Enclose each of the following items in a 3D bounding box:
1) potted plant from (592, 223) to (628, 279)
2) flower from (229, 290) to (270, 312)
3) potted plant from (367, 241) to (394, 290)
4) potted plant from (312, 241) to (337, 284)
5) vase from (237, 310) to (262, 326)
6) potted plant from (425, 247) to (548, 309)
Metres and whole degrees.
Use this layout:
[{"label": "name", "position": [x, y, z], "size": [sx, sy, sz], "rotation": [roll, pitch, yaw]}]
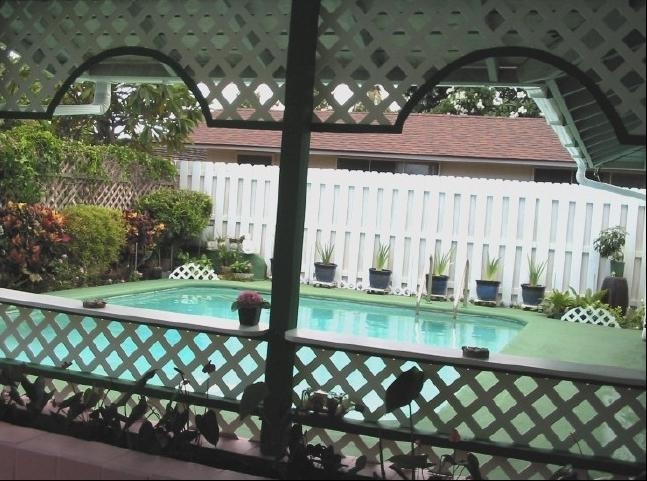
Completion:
[{"label": "potted plant", "position": [4.526, 0.185, 9.555], "size": [0.442, 0.723, 0.469], "rotation": [-10, -1, 3]}, {"label": "flower", "position": [-0.544, 0.460, 4.662], "size": [0.269, 0.144, 0.330], "rotation": [3, 0, -10]}, {"label": "potted plant", "position": [1.008, 0.477, 10.795], "size": [0.393, 0.815, 0.409], "rotation": [3, 0, 7]}, {"label": "potted plant", "position": [0.044, 0.423, 11.074], "size": [0.398, 0.781, 0.414], "rotation": [3, 0, -1]}, {"label": "vase", "position": [-0.560, 0.575, 4.701], "size": [0.170, 0.139, 0.198], "rotation": [3, 0, -8]}, {"label": "potted plant", "position": [2.919, 0.661, 9.974], "size": [1.319, 0.738, 0.988], "rotation": [3, 0, 14]}]
